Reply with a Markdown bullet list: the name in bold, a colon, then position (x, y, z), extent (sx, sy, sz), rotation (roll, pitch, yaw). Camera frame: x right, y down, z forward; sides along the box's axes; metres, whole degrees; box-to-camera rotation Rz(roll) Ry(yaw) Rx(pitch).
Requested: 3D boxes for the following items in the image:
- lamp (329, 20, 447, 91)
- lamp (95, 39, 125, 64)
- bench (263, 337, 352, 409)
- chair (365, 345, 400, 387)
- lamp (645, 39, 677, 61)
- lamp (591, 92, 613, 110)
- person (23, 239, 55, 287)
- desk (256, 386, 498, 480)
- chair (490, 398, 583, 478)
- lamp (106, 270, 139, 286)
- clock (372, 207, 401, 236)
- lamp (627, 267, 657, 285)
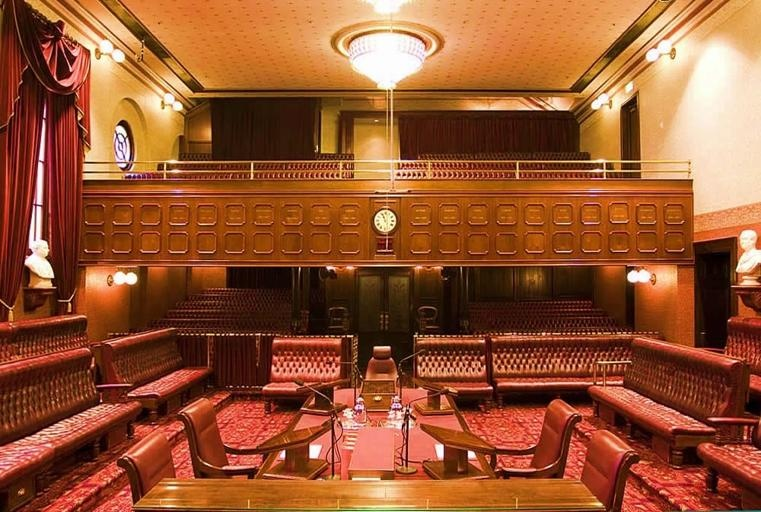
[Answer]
- **lamp**: position (-0.104, -4.377, 12.396), extent (1.855, 0.725, 1.918), rotation (-8, 15, 15)
- **lamp**: position (-6.526, -4.948, 13.798), extent (0.395, 0.443, 0.633), rotation (-39, 33, -24)
- **bench**: position (-1.579, 2.477, 11.887), extent (1.604, 1.313, 1.279), rotation (2, -5, -9)
- **chair**: position (0.047, 1.981, 10.598), extent (0.582, 0.663, 0.622), rotation (0, -12, -1)
- **lamp**: position (6.683, -4.908, 13.615), extent (0.449, 0.464, 0.754), rotation (30, 27, 33)
- **lamp**: position (6.366, -4.478, 16.506), extent (0.574, 0.294, 0.426), rotation (-11, -28, -34)
- **person**: position (-6.984, 0.173, 11.732), extent (0.483, 0.975, 0.407), rotation (-1, -1, -24)
- **desk**: position (0.281, 2.511, 7.590), extent (2.824, 0.909, 1.650), rotation (-1, -1, -20)
- **chair**: position (1.999, 2.666, 7.764), extent (1.185, 1.252, 0.914), rotation (0, 2, 4)
- **lamp**: position (-6.234, 0.603, 13.713), extent (0.733, 0.328, 0.373), rotation (-10, 9, 33)
- **clock**: position (0.146, -0.780, 13.100), extent (0.598, 0.664, 0.104), rotation (1, -3, 3)
- **lamp**: position (6.363, 0.492, 13.796), extent (0.576, 0.285, 0.446), rotation (8, -6, -17)
